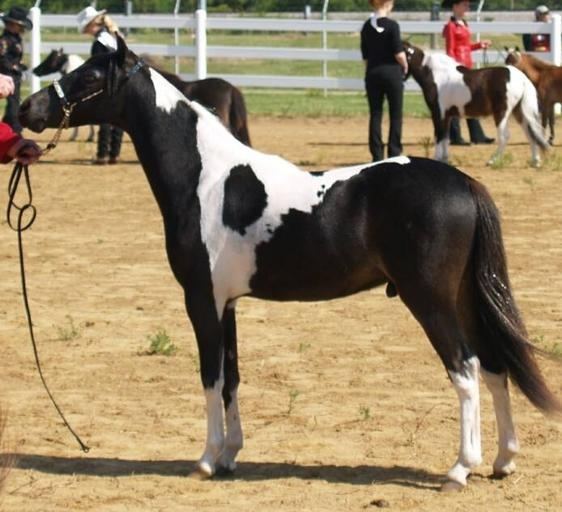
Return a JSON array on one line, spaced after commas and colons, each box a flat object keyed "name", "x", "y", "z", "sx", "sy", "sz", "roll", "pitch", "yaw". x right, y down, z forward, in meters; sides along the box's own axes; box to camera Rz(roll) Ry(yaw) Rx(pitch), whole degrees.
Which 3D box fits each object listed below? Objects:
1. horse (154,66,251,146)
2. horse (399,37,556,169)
[{"name": "horse", "x": -1.190, "y": -1.787, "z": 19.895, "sx": 1.676, "sy": 1.291, "sz": 0.451, "roll": 2, "pitch": 1, "yaw": 20}, {"name": "horse", "x": 2.813, "y": -2.266, "z": 23.238, "sx": 2.312, "sy": 1.935, "sz": 0.625, "roll": 4, "pitch": 10, "yaw": 20}]
